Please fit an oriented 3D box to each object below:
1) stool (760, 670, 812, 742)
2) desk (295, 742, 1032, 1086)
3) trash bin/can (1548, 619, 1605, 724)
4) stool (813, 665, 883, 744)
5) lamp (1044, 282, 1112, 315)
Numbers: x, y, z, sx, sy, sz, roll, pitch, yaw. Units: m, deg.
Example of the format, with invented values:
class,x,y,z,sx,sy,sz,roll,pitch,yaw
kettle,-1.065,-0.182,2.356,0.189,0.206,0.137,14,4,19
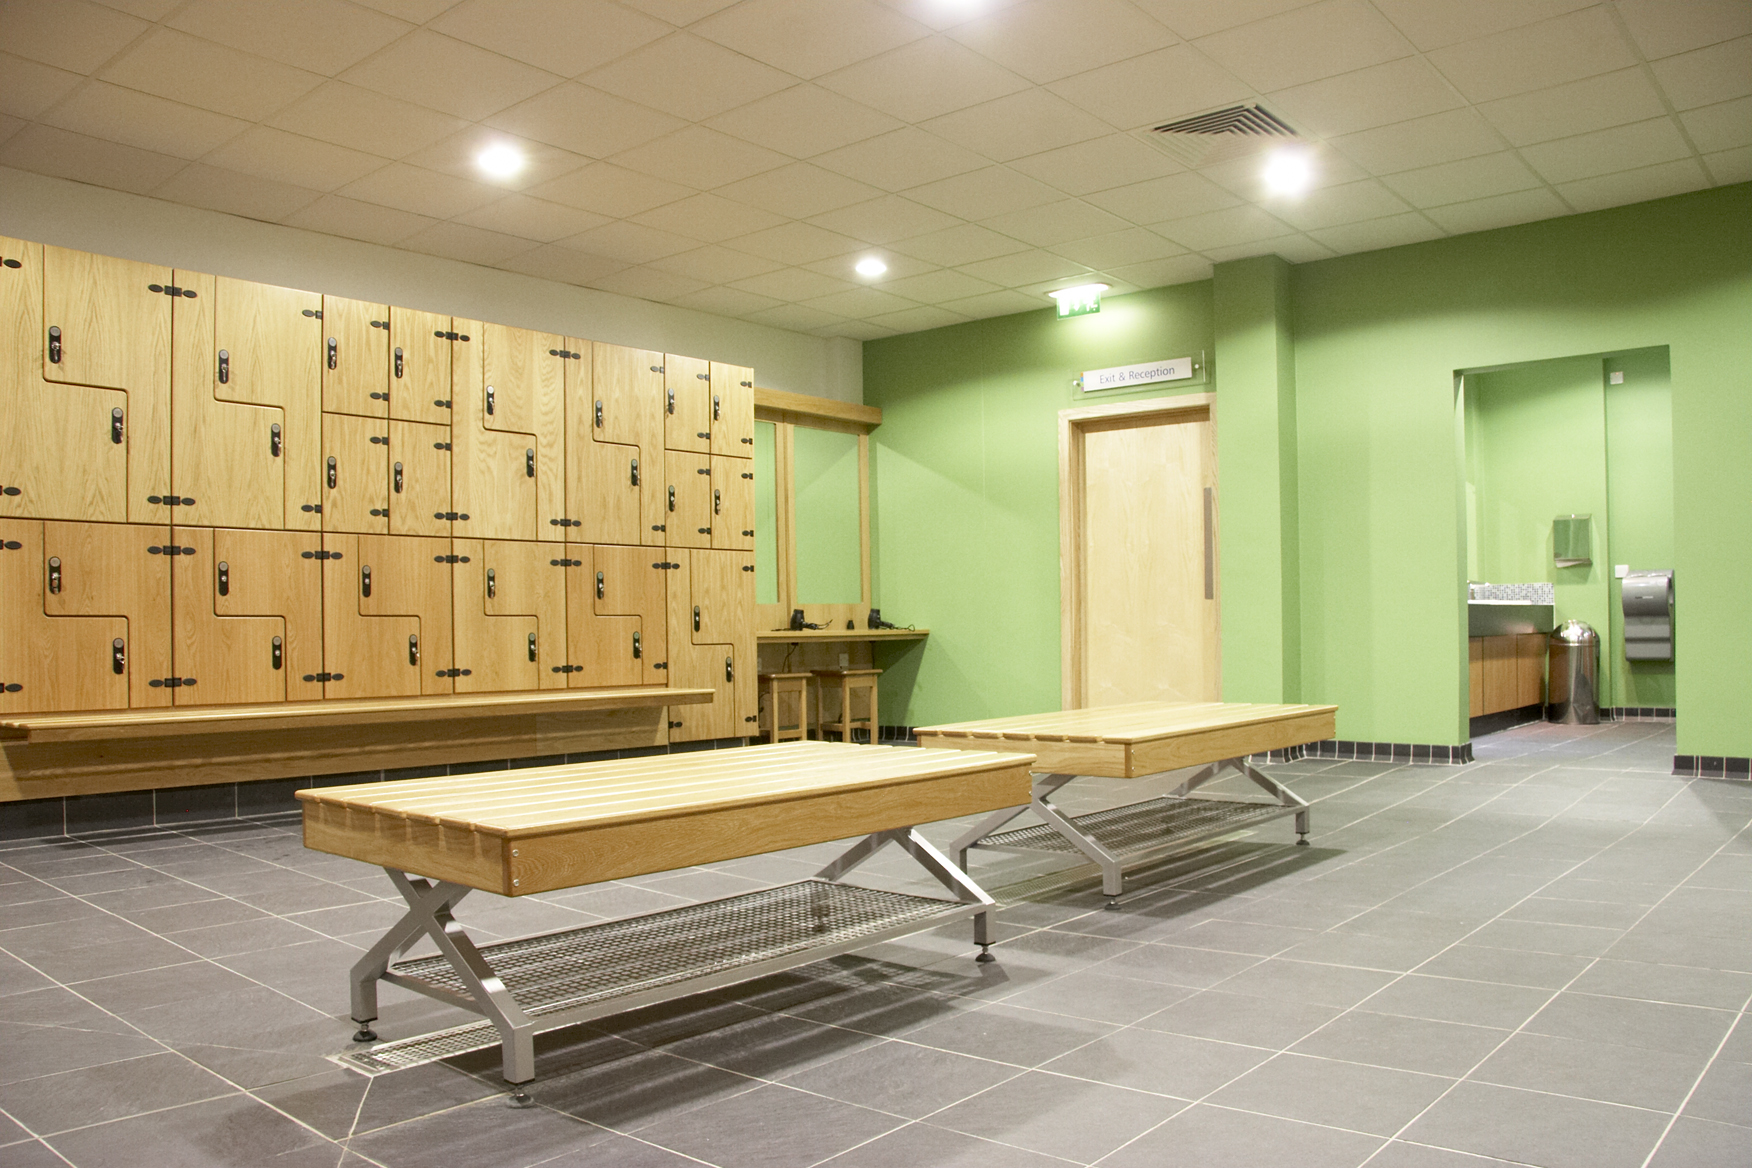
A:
class,x,y,z,sx,sy,sz,roll,pitch,yaw
stool,-0.784,1.050,9.072,0.443,0.598,0.613,-1,1,-4
desk,-0.668,1.009,3.491,1.920,0.795,1.027,-1,1,-39
trash bin/can,7.132,0.885,10.613,0.405,0.979,0.454,0,1,29
stool,-0.207,1.107,9.477,0.497,0.711,0.782,0,1,26
lamp,1.738,-2.414,8.868,0.496,0.174,0.453,0,1,9
